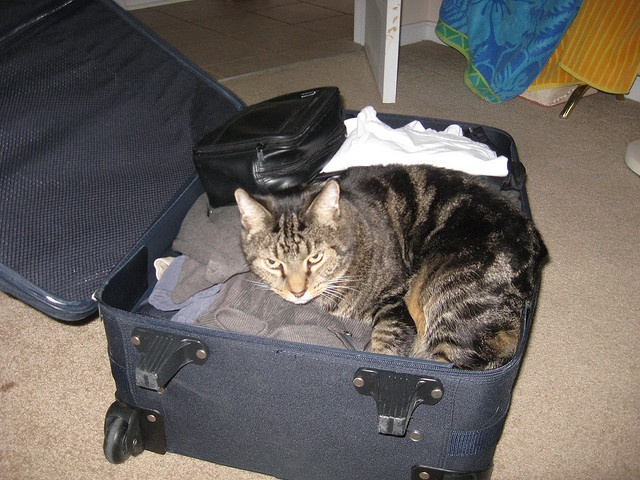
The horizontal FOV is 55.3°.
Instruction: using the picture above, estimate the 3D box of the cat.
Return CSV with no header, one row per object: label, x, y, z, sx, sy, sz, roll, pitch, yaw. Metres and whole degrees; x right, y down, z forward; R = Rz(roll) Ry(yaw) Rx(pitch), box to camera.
cat,0.275,0.205,2.049,0.793,0.383,0.643,-12,46,-2
